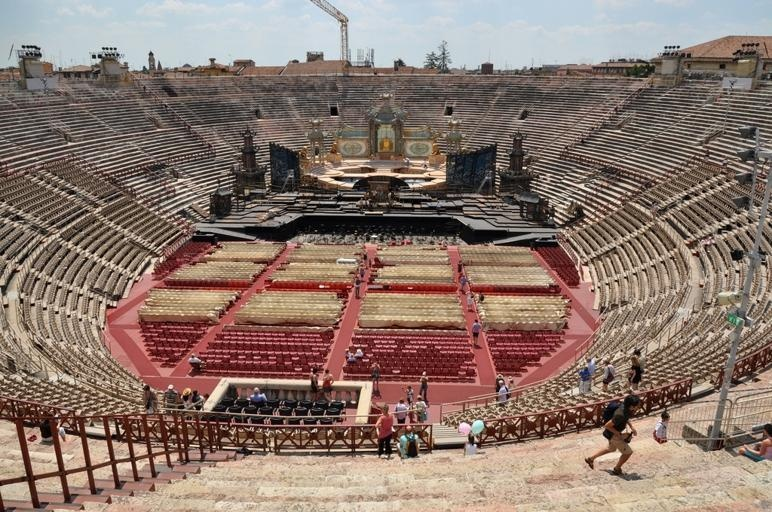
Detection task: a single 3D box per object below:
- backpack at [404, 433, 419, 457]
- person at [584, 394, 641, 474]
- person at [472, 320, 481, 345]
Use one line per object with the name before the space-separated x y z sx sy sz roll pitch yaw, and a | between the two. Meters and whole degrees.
backpack | 0.950 7.142 20.165 0.425 0.941 0.891 -8 8 8
person | 7.043 5.365 16.551 1.418 2.579 1.136 -5 10 21
person | 5.839 4.995 34.693 0.586 1.307 1.810 -7 8 8
